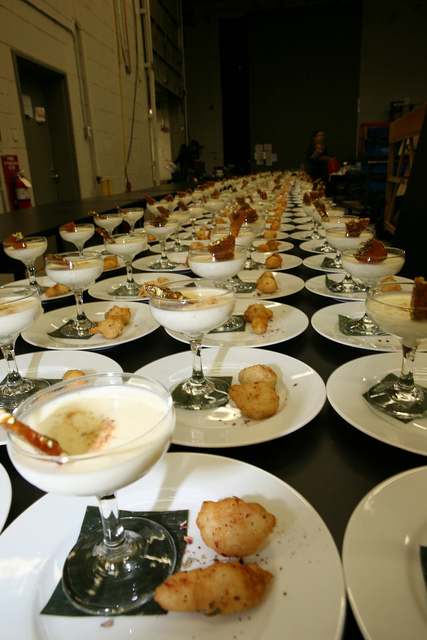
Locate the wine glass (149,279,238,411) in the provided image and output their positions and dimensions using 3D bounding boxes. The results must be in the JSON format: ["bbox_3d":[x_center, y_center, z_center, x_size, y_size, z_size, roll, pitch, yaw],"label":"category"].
[{"bbox_3d":[-0.039,0.047,0.966,0.159,0.252,0.160,4,22,24],"label":"wine glass"}]

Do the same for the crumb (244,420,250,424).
[{"bbox_3d":[0.058,0.176,0.784,0.009,0.002,0.016,-1,19,6],"label":"crumb"}]

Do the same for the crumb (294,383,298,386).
[{"bbox_3d":[0.156,0.122,0.860,0.004,0.006,0.011,-7,3,-38],"label":"crumb"}]

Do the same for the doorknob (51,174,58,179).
[{"bbox_3d":[-2.202,-1.991,6.235,0.031,0.041,0.144,2,19,13],"label":"doorknob"}]

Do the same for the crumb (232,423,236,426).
[{"bbox_3d":[0.035,0.178,0.775,0.005,0.003,0.013,2,19,12],"label":"crumb"}]

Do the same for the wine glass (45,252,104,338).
[{"bbox_3d":[-0.397,-0.083,1.308,0.151,0.238,0.153,3,22,2],"label":"wine glass"}]

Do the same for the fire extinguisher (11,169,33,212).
[{"bbox_3d":[-2.031,-1.348,4.843,0.192,0.574,0.129,-3,59,-13],"label":"fire extinguisher"}]

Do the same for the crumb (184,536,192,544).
[{"bbox_3d":[-0.032,0.272,0.561,0.006,0.003,0.012,-18,24,-39],"label":"crumb"}]

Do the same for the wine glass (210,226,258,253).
[{"bbox_3d":[0.090,-0.346,1.803,0.163,0.101,0.164,-2,17,-2],"label":"wine glass"}]

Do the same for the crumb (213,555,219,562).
[{"bbox_3d":[0.003,0.281,0.533,0.007,0.003,0.007,9,19,21],"label":"crumb"}]

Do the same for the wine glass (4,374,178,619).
[{"bbox_3d":[-0.074,0.225,0.575,0.227,0.264,0.226,-3,22,-4],"label":"wine glass"}]

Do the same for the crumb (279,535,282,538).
[{"bbox_3d":[0.077,0.249,0.521,0.003,0.001,0.003,-1,12,-3],"label":"crumb"}]
